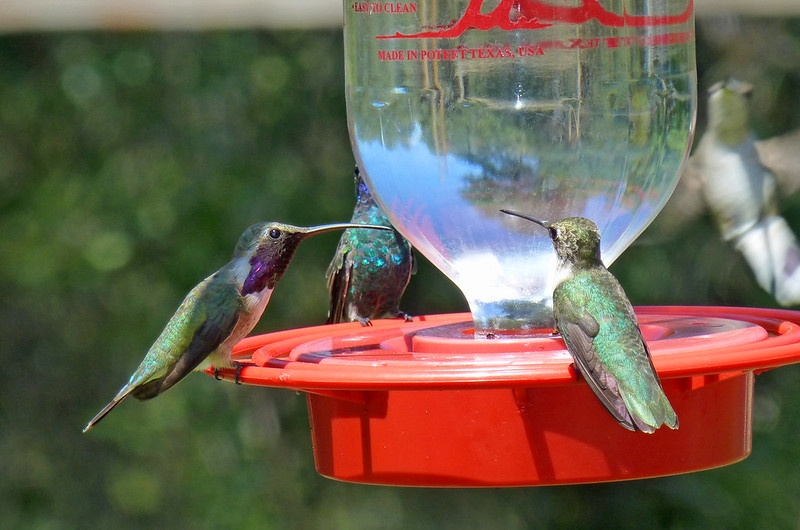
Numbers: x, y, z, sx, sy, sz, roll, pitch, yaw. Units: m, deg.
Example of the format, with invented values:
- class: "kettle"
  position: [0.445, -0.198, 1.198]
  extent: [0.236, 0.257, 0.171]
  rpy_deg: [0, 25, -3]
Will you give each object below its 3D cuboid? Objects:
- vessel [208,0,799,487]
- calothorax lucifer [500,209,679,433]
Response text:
- class: "vessel"
  position: [0.326, -0.005, 3.262]
  extent: [1.573, 1.250, 1.189]
  rpy_deg: [11, 36, 20]
- class: "calothorax lucifer"
  position: [0.546, 0.179, 3.292]
  extent: [0.212, 0.428, 0.738]
  rpy_deg: [-11, 40, -26]
